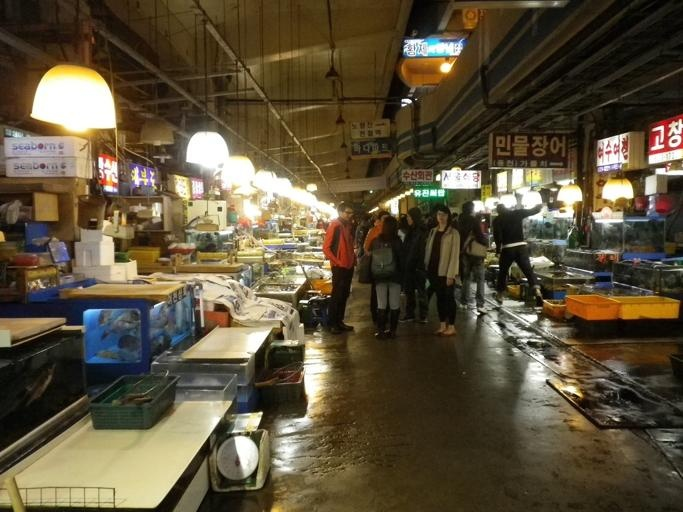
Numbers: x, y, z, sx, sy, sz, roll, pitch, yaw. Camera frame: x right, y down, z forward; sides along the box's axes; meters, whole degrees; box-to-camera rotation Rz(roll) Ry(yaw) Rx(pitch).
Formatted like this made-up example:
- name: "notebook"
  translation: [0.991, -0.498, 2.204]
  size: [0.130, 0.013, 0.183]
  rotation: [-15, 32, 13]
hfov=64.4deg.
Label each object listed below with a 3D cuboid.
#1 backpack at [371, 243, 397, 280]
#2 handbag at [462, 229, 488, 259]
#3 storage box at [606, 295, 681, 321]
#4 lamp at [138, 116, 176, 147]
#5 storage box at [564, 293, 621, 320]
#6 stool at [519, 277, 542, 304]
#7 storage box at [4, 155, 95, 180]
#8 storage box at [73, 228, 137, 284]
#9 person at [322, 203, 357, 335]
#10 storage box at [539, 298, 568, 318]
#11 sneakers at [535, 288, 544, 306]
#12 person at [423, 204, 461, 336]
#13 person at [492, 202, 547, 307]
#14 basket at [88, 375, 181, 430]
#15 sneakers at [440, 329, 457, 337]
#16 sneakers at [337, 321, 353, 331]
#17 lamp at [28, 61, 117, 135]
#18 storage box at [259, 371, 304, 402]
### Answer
- name: "backpack"
  translation: [0.588, 0.063, 7.400]
  size: [0.345, 0.525, 0.263]
  rotation: [-6, -15, 21]
- name: "handbag"
  translation: [2.168, -0.205, 8.837]
  size: [0.396, 0.391, 0.195]
  rotation: [7, 37, 29]
- name: "storage box"
  translation: [4.157, 0.700, 7.424]
  size: [0.578, 0.195, 0.466]
  rotation: [-1, 3, 4]
- name: "lamp"
  translation: [-3.381, -2.254, 10.168]
  size: [0.618, 0.547, 0.631]
  rotation: [-1, -2, 13]
- name: "storage box"
  translation: [3.559, 0.706, 7.680]
  size: [0.466, 0.363, 0.615]
  rotation: [-1, 11, -1]
- name: "stool"
  translation: [3.424, 0.537, 9.776]
  size: [0.334, 0.425, 0.625]
  rotation: [-3, 5, 3]
- name: "storage box"
  translation: [-3.217, -0.965, 5.937]
  size: [0.796, 0.234, 0.343]
  rotation: [-7, 12, -28]
- name: "storage box"
  translation: [-2.537, -0.003, 5.823]
  size: [0.627, 0.586, 0.497]
  rotation: [-7, 12, -28]
- name: "person"
  translation: [-0.035, 0.175, 8.157]
  size: [0.435, 1.926, 0.581]
  rotation: [-1, 10, 0]
- name: "storage box"
  translation: [3.401, 0.829, 8.687]
  size: [0.338, 0.208, 0.633]
  rotation: [-1, -2, 1]
- name: "sneakers"
  translation: [3.408, 0.696, 9.345]
  size: [0.112, 0.343, 0.229]
  rotation: [-4, 40, 10]
- name: "person"
  translation: [1.436, 0.229, 7.610]
  size: [0.417, 1.874, 0.815]
  rotation: [-1, 10, 2]
- name: "person"
  translation: [3.044, -0.037, 9.333]
  size: [0.845, 1.748, 0.400]
  rotation: [2, 11, 14]
- name: "basket"
  translation: [-1.548, 1.073, 4.103]
  size: [0.535, 0.222, 0.552]
  rotation: [0, 11, 2]
- name: "sneakers"
  translation: [1.519, 1.085, 7.659]
  size: [0.183, 0.182, 0.086]
  rotation: [-1, -5, -1]
- name: "sneakers"
  translation: [0.064, 1.061, 8.256]
  size: [0.294, 0.208, 0.100]
  rotation: [-1, 3, 3]
- name: "lamp"
  translation: [-2.128, -1.269, 4.332]
  size: [0.651, 0.527, 0.632]
  rotation: [-5, 9, -35]
- name: "storage box"
  translation: [-0.599, 1.297, 5.383]
  size: [0.274, 0.134, 0.411]
  rotation: [-1, 2, 1]
